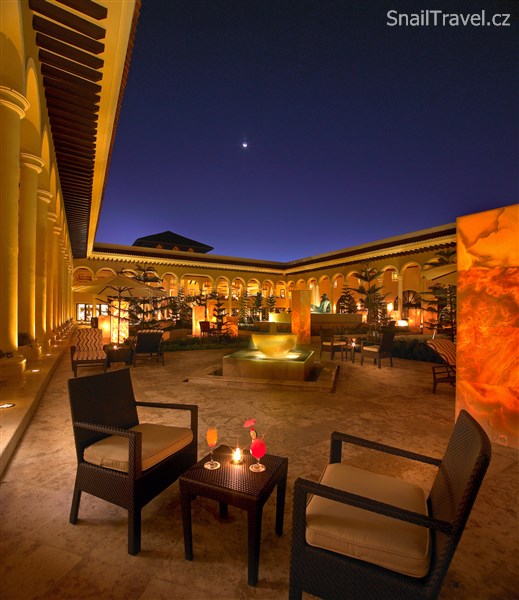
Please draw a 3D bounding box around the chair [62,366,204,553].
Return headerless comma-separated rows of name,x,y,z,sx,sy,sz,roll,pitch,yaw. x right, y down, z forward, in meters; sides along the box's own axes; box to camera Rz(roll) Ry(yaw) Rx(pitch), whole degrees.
chair,-0.888,1.028,2.748,0.669,0.937,0.819,2,0,11
